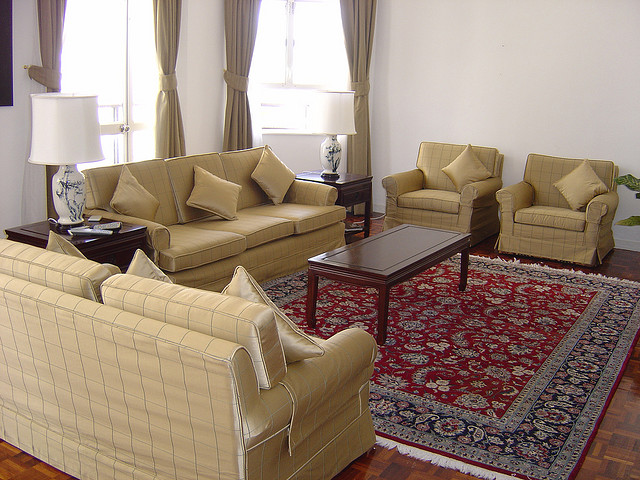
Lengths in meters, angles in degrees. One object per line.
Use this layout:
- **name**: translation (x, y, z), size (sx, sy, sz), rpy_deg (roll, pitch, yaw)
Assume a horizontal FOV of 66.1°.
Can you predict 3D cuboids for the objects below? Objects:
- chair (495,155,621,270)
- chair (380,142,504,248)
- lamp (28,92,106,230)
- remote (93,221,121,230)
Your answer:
- **chair**: translation (2.869, -0.382, 5.895), size (1.059, 1.201, 1.205), rpy_deg (-9, 16, -44)
- **chair**: translation (1.651, -0.629, 6.542), size (1.252, 1.251, 1.116), rpy_deg (12, 17, 38)
- **lamp**: translation (-1.855, -0.594, 3.806), size (0.580, 1.099, 0.584), rpy_deg (1, 10, -4)
- **remote**: translation (-1.660, -0.112, 3.842), size (0.202, 0.041, 0.168), rpy_deg (-5, 14, -22)
